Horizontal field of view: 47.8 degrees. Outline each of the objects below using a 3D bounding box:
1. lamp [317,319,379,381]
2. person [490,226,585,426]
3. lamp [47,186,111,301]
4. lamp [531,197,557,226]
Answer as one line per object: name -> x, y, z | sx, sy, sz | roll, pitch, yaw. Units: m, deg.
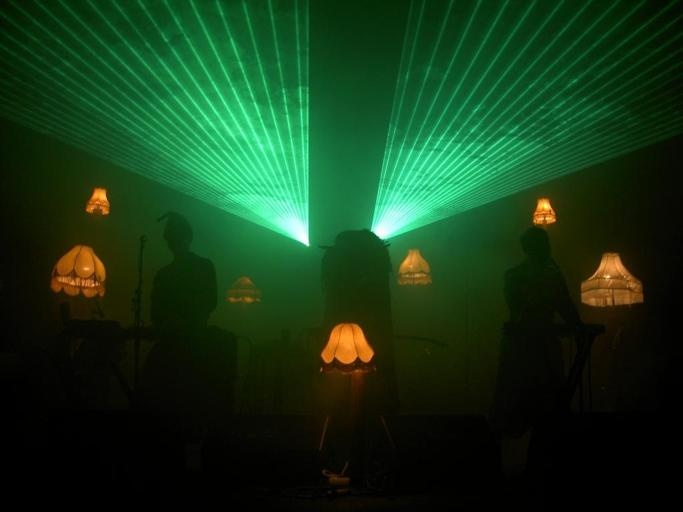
lamp -> 0.064, 1.046, 8.595 | 0.539, 0.465, 0.547 | 5, -15, -23
person -> 2.106, 0.792, 8.382 | 0.886, 2.285, 0.653 | -2, -6, 36
lamp -> -2.936, -0.156, 8.736 | 0.584, 1.244, 0.474 | 3, -5, -20
lamp -> 2.538, -0.541, 9.660 | 0.304, 0.440, 0.316 | -1, -5, -3
